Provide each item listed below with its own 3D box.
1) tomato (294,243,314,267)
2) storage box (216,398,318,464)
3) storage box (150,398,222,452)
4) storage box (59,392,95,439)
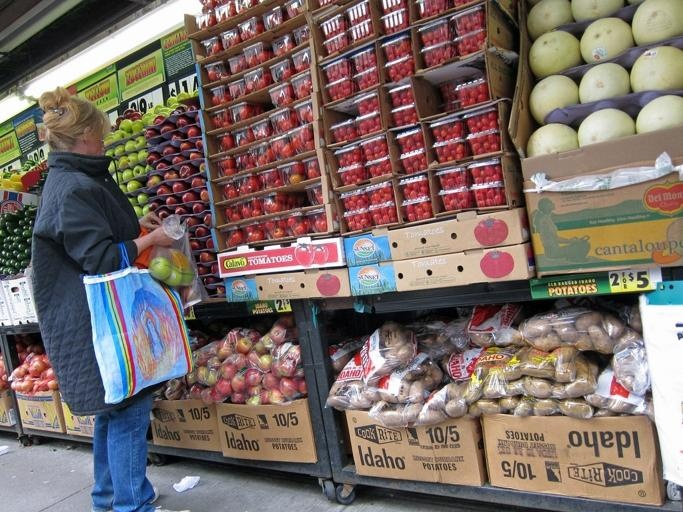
[{"bbox_3d":[-0.201,-0.009,2.923,0.115,0.133,0.121,-3,-1,14],"label":"tomato"},{"bbox_3d":[-0.454,1.085,3.173,0.642,0.326,0.455,-6,-1,25],"label":"storage box"},{"bbox_3d":[-1.052,1.144,3.525,0.563,0.270,0.397,-2,-5,28],"label":"storage box"},{"bbox_3d":[-2.224,1.365,4.364,0.230,0.283,0.403,9,-18,-37],"label":"storage box"}]
